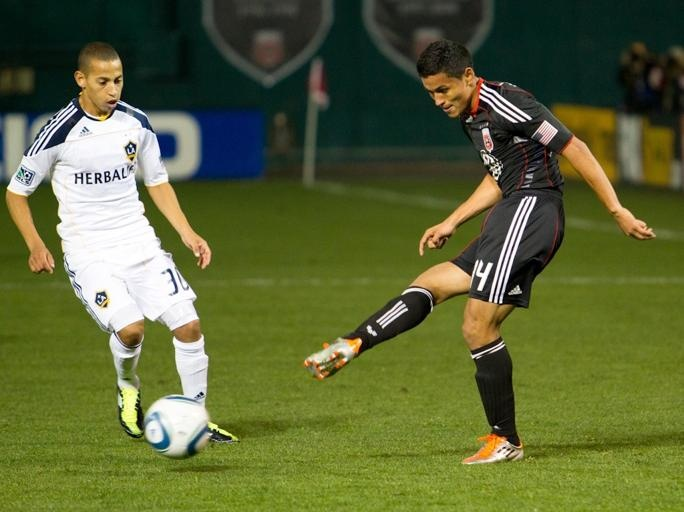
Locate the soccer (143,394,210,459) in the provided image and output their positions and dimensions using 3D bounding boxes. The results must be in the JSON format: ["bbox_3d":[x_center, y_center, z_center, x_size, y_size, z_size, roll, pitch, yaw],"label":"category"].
[{"bbox_3d":[-0.946,0.996,6.283,0.352,0.338,0.252,-6,11,-23],"label":"soccer"}]

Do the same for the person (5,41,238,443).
[{"bbox_3d":[-1.415,0.031,6.794,1.182,2.195,0.545,-3,11,-7],"label":"person"}]

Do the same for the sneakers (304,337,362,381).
[{"bbox_3d":[-0.049,0.567,6.198,0.198,0.122,0.311,33,56,30],"label":"sneakers"}]

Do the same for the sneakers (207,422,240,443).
[{"bbox_3d":[-0.684,1.093,6.748,0.306,0.114,0.097,1,4,-2],"label":"sneakers"}]

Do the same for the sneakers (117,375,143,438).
[{"bbox_3d":[-1.307,0.958,6.932,0.135,0.159,0.383,-10,55,-28],"label":"sneakers"}]
